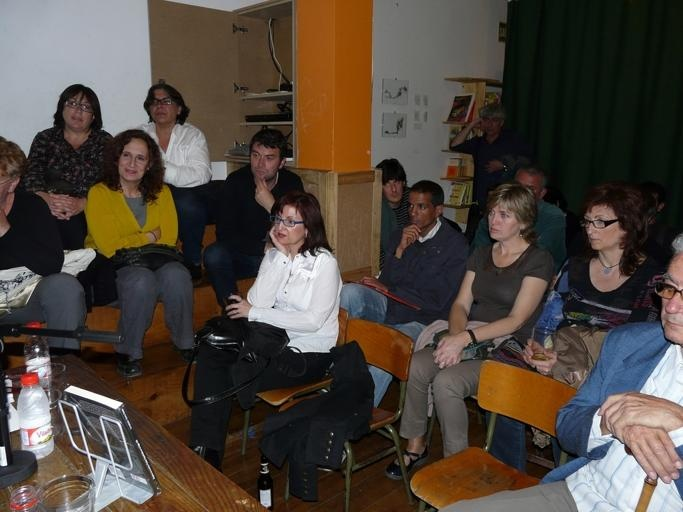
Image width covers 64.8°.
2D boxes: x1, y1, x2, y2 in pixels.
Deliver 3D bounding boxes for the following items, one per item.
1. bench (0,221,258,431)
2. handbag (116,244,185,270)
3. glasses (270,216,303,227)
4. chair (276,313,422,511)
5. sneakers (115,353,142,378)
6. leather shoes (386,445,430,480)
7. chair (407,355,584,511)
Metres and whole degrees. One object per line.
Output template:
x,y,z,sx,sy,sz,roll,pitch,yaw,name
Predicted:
-1.408,0.296,3.754,1.370,0.942,0.753,3,3,31,bench
-1.280,0.002,3.543,0.258,0.109,0.203,-6,8,-35,handbag
-0.300,-0.193,3.030,0.161,0.059,0.046,4,18,14,glasses
0.033,0.834,2.900,0.642,0.945,0.731,-2,18,-2,chair
-1.335,0.692,3.375,0.088,0.093,0.196,-3,4,-36,sneakers
0.373,1.172,3.105,0.286,0.122,0.104,-6,10,-42,leather shoes
0.605,0.805,2.249,0.642,0.544,0.368,-14,22,-34,chair
